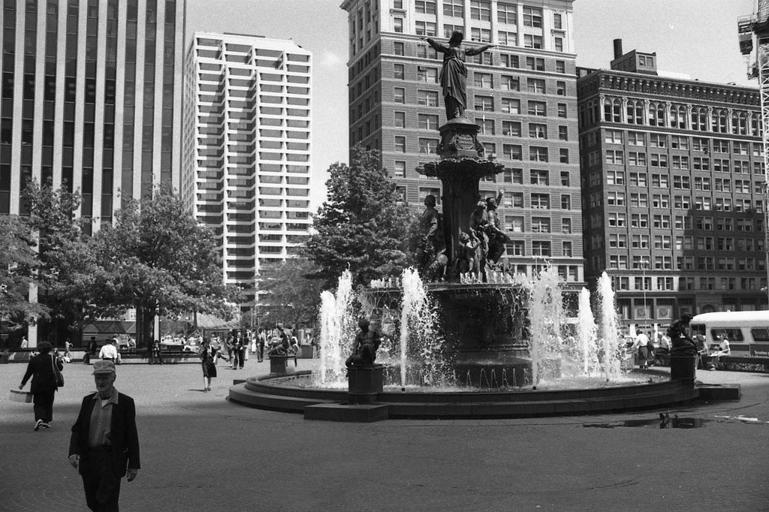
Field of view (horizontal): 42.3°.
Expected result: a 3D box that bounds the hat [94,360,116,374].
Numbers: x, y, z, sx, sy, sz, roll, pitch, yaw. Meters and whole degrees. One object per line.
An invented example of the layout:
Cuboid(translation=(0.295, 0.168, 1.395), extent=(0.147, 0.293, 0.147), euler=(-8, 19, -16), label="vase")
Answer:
Cuboid(translation=(-9.748, 3.840, 34.454), extent=(0.692, 0.489, 0.393), euler=(2, -6, -21), label="hat")
